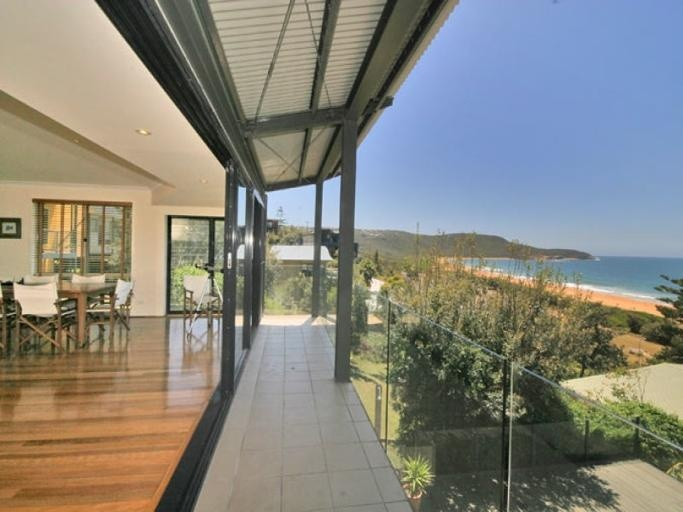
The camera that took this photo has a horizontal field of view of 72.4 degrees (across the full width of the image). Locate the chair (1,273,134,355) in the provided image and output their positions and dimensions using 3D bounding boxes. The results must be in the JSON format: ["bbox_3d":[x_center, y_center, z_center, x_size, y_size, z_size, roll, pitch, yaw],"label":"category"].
[{"bbox_3d":[-4.407,0.837,7.723,1.194,0.662,1.291,1,3,-4],"label":"chair"}]

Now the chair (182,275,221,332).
[{"bbox_3d":[-2.754,0.866,9.268,0.732,1.002,1.960,3,0,-19],"label":"chair"}]
